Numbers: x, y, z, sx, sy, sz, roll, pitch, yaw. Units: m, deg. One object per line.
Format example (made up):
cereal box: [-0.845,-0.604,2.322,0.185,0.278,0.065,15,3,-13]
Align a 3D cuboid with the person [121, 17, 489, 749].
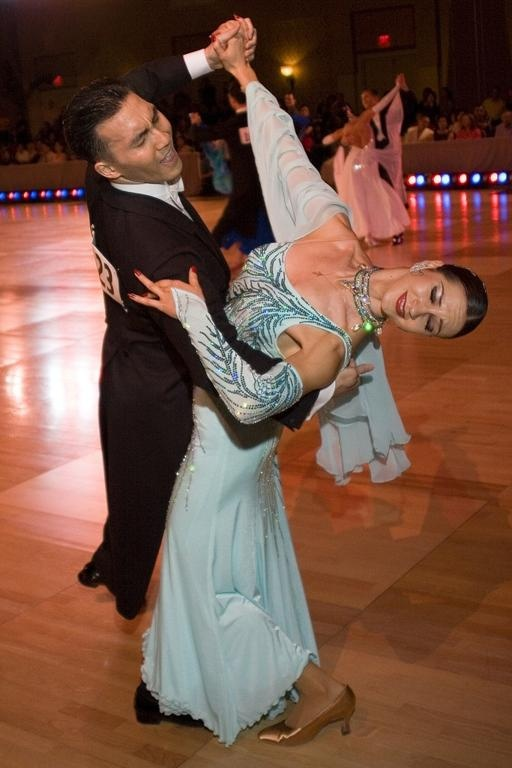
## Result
person: [0.076,0.221,1.322,0.703,1.318,0.554,-14,16,-30]

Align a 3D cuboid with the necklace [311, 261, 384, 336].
necklace: [0.211,-0.180,1.291,0.053,0.134,0.111,-2,-12,26]
